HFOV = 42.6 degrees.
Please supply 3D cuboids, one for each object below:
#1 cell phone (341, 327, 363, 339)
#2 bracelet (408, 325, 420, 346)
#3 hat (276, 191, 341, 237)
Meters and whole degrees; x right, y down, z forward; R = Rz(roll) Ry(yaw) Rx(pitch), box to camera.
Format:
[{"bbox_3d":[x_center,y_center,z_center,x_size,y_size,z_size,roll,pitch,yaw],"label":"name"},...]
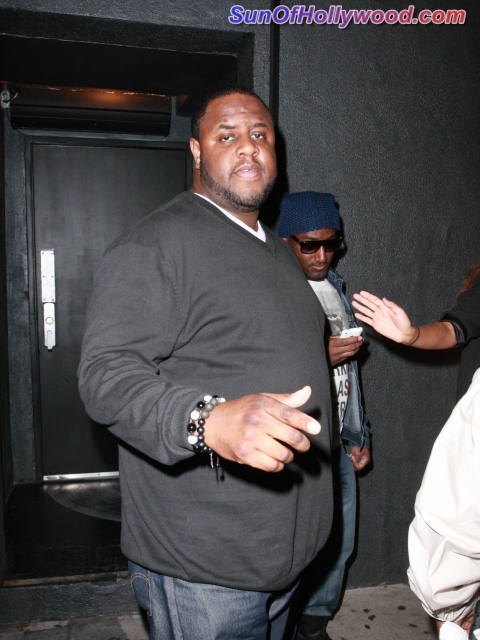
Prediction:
[{"bbox_3d":[0.413,0.050,2.299,0.052,0.079,0.008,-6,34,-12],"label":"cell phone"},{"bbox_3d":[0.585,0.055,2.073,0.030,0.065,0.048,5,2,6],"label":"bracelet"},{"bbox_3d":[0.268,-0.415,2.489,0.230,0.135,0.211,0,-3,-14],"label":"hat"}]
